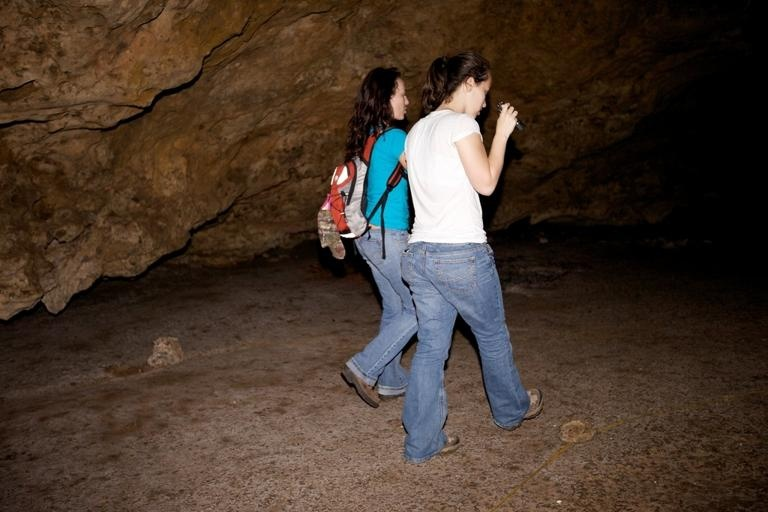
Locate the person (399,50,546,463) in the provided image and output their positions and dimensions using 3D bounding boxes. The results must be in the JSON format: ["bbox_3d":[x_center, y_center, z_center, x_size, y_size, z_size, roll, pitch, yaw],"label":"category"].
[{"bbox_3d":[0.628,0.036,4.581,1.052,3.020,1.142,2,20,19],"label":"person"}]
